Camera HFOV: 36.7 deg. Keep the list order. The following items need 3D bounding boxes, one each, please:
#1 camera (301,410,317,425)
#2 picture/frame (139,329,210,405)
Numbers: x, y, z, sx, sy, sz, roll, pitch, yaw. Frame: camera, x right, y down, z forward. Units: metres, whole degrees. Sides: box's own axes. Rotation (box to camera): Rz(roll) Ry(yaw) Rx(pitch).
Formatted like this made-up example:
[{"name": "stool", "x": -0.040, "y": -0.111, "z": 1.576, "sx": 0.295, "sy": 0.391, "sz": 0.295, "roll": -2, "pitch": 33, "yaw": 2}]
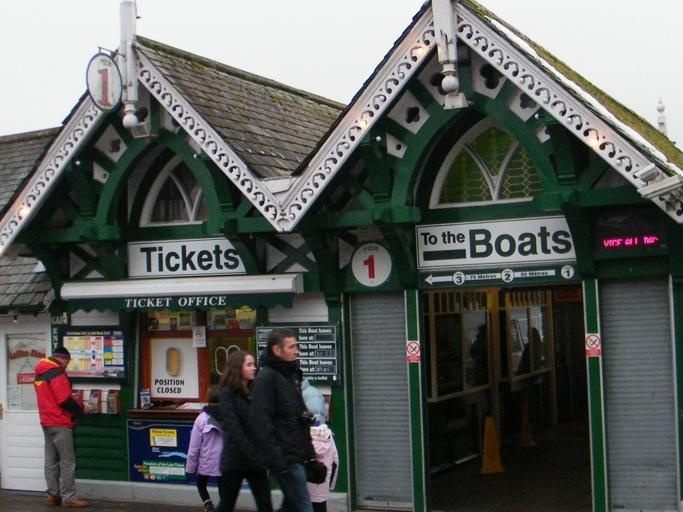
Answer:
[{"name": "camera", "x": -0.365, "y": 1.793, "z": 11.480, "sx": 0.137, "sy": 0.065, "sz": 0.139, "roll": 10, "pitch": 6, "yaw": -38}, {"name": "picture/frame", "x": -2.587, "y": 1.732, "z": 16.123, "sx": 1.125, "sy": 1.064, "sz": 0.263, "roll": -9, "pitch": -12, "yaw": 27}]
